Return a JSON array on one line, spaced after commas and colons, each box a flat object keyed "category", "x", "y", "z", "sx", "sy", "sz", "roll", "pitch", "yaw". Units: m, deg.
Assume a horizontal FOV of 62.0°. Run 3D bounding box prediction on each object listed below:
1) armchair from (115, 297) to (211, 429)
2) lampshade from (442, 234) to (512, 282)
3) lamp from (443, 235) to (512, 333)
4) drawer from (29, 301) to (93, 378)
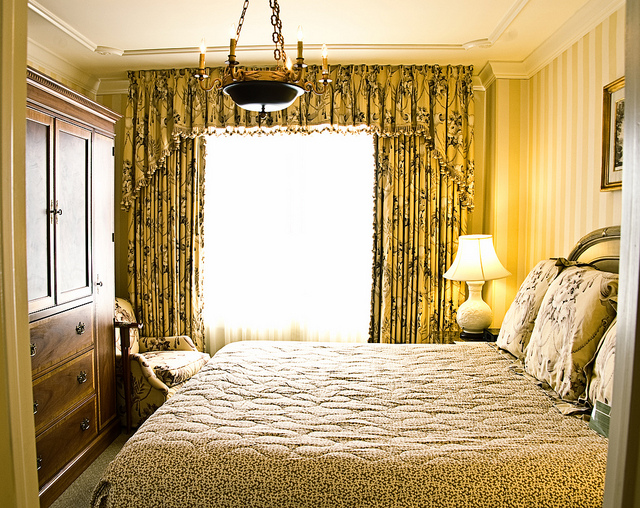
[{"category": "armchair", "x": -1.291, "y": 0.932, "z": 4.352, "sx": 0.678, "sy": 1.098, "sz": 0.788, "roll": 2, "pitch": 1, "yaw": -2}, {"category": "lampshade", "x": 1.257, "y": 0.036, "z": 4.291, "sx": 0.471, "sy": 0.345, "sz": 0.492, "roll": -11, "pitch": 7, "yaw": -41}, {"category": "lamp", "x": 1.205, "y": 0.185, "z": 4.171, "sx": 0.401, "sy": 0.834, "sz": 0.461, "roll": 0, "pitch": 0, "yaw": -4}, {"category": "drawer", "x": -1.593, "y": 0.522, "z": 3.253, "sx": 0.230, "sy": 0.251, "sz": 0.487, "roll": 1, "pitch": 1, "yaw": 7}]
